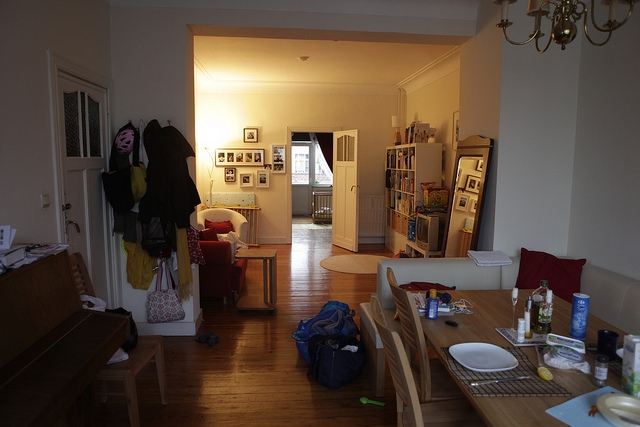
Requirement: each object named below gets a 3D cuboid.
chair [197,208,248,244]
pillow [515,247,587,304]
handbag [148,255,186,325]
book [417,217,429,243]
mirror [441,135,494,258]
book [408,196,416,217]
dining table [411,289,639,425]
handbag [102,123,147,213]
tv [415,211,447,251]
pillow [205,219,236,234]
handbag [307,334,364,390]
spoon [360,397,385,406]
[{"bbox_3d":[-1.859,0.345,8.171,0.983,0.844,0.880,-1,3,-19],"label":"chair"},{"bbox_3d":[2.184,0.604,4.144,0.420,0.408,0.155,9,-25,32],"label":"pillow"},{"bbox_3d":[-1.697,0.879,4.808,0.396,0.743,0.154,-3,13,-21],"label":"handbag"},{"bbox_3d":[1.607,0.261,6.839,0.211,0.366,0.389,0,5,-4],"label":"book"},{"bbox_3d":[1.721,-0.146,5.154,0.197,1.532,0.658,0,12,-8],"label":"mirror"},{"bbox_3d":[1.595,-0.111,7.598,0.168,0.303,0.316,0,8,2],"label":"book"},{"bbox_3d":[1.389,0.959,2.813,0.744,0.278,1.182,0,9,-2],"label":"dining table"},{"bbox_3d":[-2.042,-0.477,4.610,0.466,0.908,0.341,0,12,-8],"label":"handbag"},{"bbox_3d":[1.673,0.264,6.833,0.462,0.672,0.728,1,3,-4],"label":"tv"},{"bbox_3d":[-1.860,0.255,8.089,0.331,0.099,0.286,-2,27,-17],"label":"pillow"},{"bbox_3d":[0.156,1.382,4.059,0.454,0.212,0.458,0,3,-25],"label":"handbag"},{"bbox_3d":[0.461,1.657,3.864,0.213,0.065,0.066,4,27,25],"label":"spoon"}]
